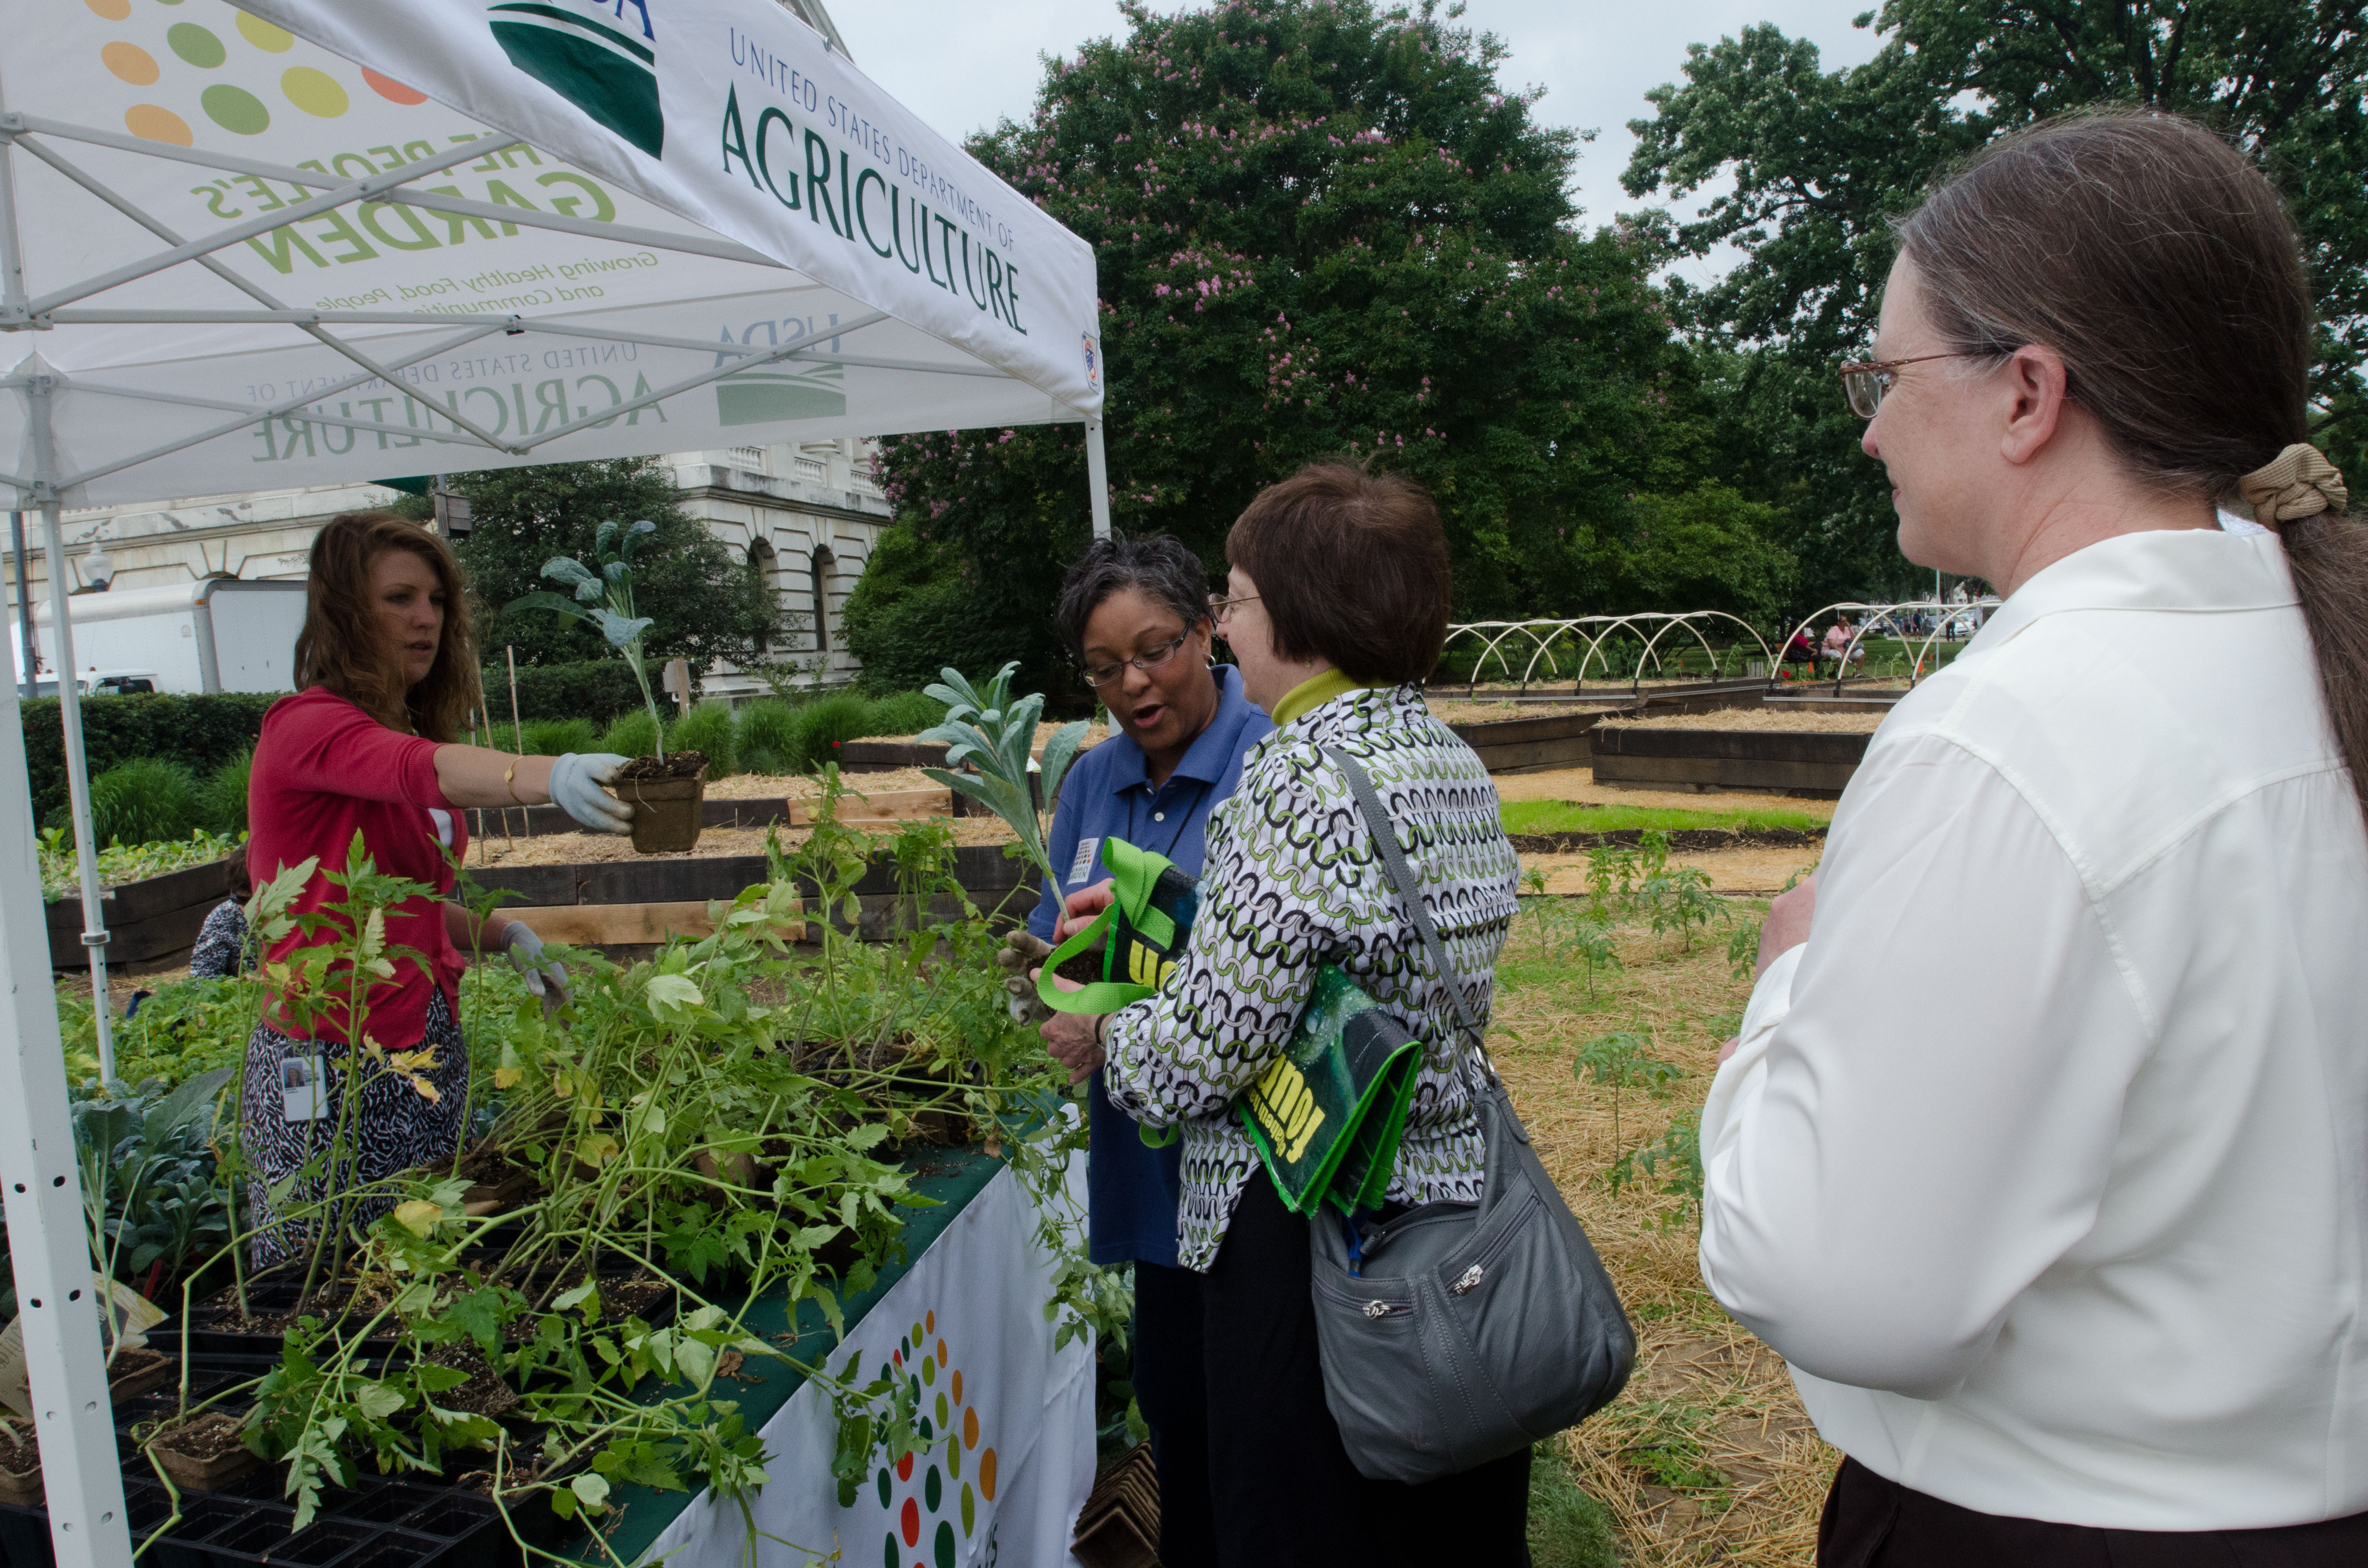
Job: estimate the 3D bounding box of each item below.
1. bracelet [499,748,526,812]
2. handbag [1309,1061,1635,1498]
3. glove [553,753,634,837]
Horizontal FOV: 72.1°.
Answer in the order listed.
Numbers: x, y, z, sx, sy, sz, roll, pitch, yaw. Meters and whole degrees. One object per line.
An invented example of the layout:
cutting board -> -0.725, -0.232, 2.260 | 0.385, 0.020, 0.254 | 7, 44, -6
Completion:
bracelet -> -1.267, -0.006, 3.070 | 0.032, 0.073, 0.065 | -16, 45, -27
handbag -> 0.442, 0.813, 2.549 | 0.444, 0.565, 0.258 | -1, 2, -20
glove -> -1.151, 0.019, 3.192 | 0.192, 0.186, 0.155 | 2, 3, 3
